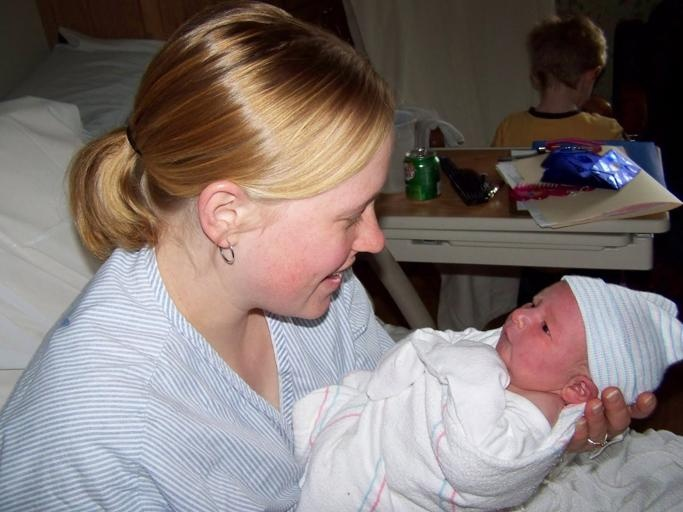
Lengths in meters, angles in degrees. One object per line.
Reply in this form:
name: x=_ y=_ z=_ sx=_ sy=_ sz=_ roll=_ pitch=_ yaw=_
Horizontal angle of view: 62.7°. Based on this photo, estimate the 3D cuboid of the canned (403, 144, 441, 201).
canned: x=0.257 y=-0.290 z=2.005 sx=0.156 sy=0.192 sz=0.162 roll=-4 pitch=30 yaw=3

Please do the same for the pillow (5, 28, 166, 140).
pillow: x=-0.800 y=-0.531 z=1.926 sx=0.454 sy=0.142 sz=0.457 roll=2 pitch=54 yaw=2
